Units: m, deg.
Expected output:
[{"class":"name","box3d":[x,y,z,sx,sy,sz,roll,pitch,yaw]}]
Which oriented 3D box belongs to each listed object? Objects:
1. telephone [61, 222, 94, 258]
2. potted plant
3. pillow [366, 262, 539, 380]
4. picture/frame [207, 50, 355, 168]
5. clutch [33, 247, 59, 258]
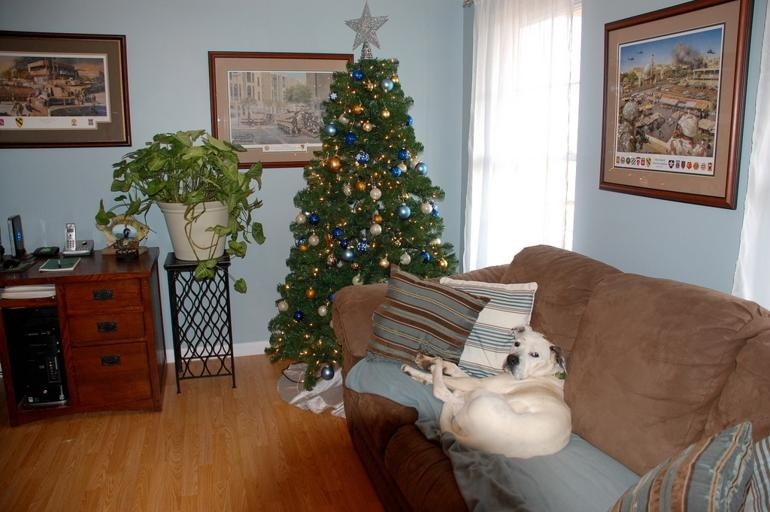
[{"class":"telephone","box3d":[-2.303,-0.121,4.045,0.313,0.204,0.171,15,19,39]},{"class":"potted plant","box3d":[-1.509,-0.399,4.042,1.128,0.880,0.943,-6,11,-37]},{"class":"pillow","box3d":[0.341,0.388,3.190,0.809,0.583,0.222,13,-16,11]},{"class":"picture/frame","box3d":[-0.849,-1.167,4.233,1.024,0.761,0.042,-2,12,-12]},{"class":"clutch","box3d":[-2.528,-0.029,4.019,0.106,0.037,0.112,1,18,-1]}]
